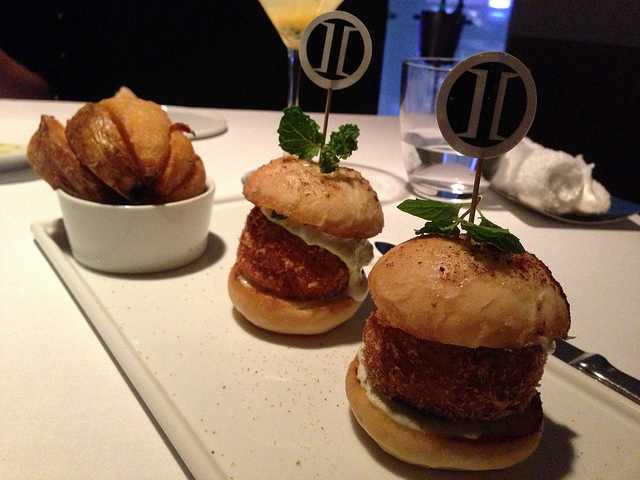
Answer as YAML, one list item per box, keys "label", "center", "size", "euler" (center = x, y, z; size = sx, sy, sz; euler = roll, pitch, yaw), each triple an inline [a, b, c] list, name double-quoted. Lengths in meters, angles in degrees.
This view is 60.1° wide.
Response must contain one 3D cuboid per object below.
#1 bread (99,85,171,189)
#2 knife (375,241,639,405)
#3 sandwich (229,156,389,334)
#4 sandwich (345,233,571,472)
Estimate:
- label: "bread"
  center: [-0.596, -0.349, 1.840]
  size: [0.205, 0.208, 0.373]
  euler: [-17, 39, -28]
- label: "knife"
  center: [0.476, 0.228, 1.413]
  size: [0.762, 0.031, 0.083]
  euler: [33, 51, 29]
- label: "sandwich"
  center: [-0.043, 0.000, 1.844]
  size: [0.474, 0.513, 0.493]
  euler: [15, 22, 0]
- label: "sandwich"
  center: [0.316, 0.245, 1.529]
  size: [0.534, 0.542, 0.548]
  euler: [9, 18, 14]
